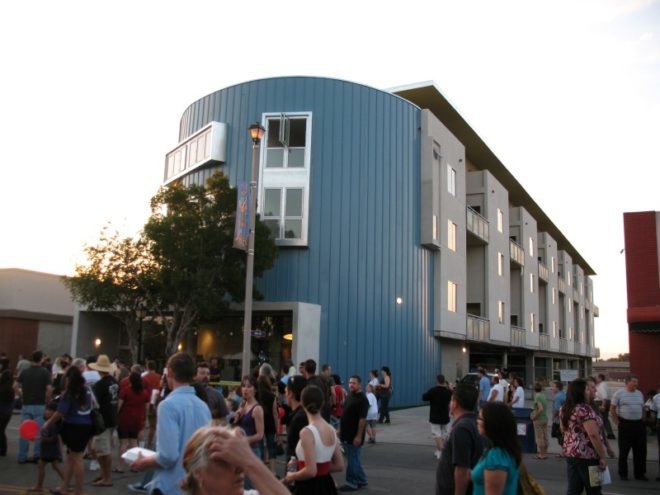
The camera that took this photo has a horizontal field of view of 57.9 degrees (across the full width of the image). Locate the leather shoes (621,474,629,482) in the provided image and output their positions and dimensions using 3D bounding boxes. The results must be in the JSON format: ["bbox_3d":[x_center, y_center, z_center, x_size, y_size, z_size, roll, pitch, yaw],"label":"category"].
[{"bbox_3d":[6.582,5.173,13.369,0.139,0.091,0.376,-6,-15,28],"label":"leather shoes"}]

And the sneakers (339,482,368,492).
[{"bbox_3d":[0.451,4.683,11.647,0.545,0.270,0.198,-4,1,0],"label":"sneakers"}]

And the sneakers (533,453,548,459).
[{"bbox_3d":[5.535,5.531,15.729,0.367,0.167,0.201,0,-6,31],"label":"sneakers"}]

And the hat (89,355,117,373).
[{"bbox_3d":[-4.590,2.420,12.348,0.509,0.279,0.611,12,-4,8],"label":"hat"}]
